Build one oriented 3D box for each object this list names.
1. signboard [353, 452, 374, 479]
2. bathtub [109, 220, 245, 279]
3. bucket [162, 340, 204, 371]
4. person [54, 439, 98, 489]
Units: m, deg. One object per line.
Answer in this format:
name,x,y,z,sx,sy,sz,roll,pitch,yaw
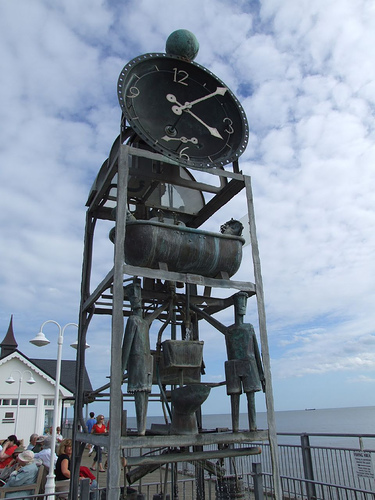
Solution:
signboard,3.265,3.990,8.151,0.289,0.495,0.782,-10,-20,16
bathtub,0.005,0.020,8.516,2.392,0.736,1.144,5,-32,-17
bucket,-0.070,1.861,7.787,0.747,0.449,0.426,9,-21,-24
person,-2.530,4.862,9.933,0.818,1.162,1.596,1,-20,-13
